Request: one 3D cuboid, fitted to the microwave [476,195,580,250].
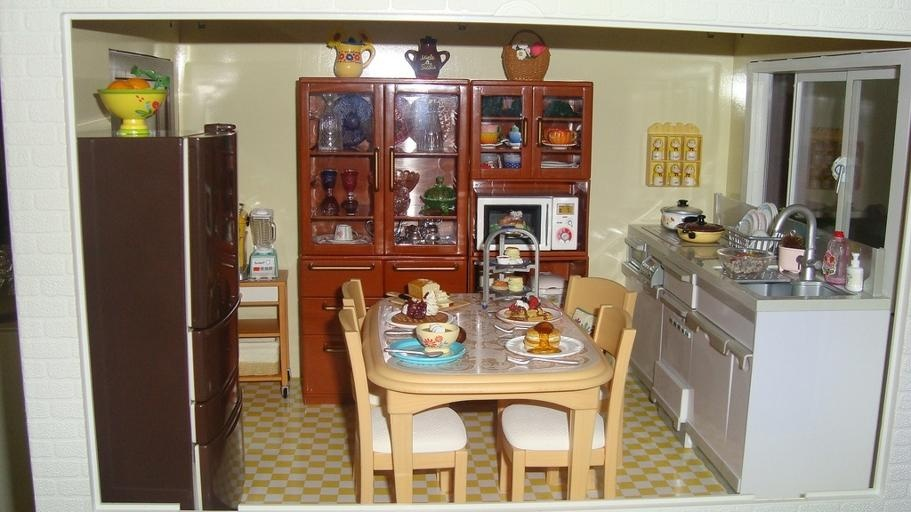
[{"bbox_3d":[0.812,-0.260,5.910,1.068,0.497,0.608,2,0,41],"label":"microwave"}]

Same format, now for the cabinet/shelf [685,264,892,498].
[{"bbox_3d":[2.310,0.926,5.255,1.148,1.391,1.539,1,5,-12],"label":"cabinet/shelf"}]

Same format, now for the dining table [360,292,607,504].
[{"bbox_3d":[0.199,1.109,4.441,1.363,0.742,1.643,-3,20,-5],"label":"dining table"}]

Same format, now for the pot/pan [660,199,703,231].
[{"bbox_3d":[2.069,-0.389,5.958,0.359,0.250,0.364,9,15,44],"label":"pot/pan"}]

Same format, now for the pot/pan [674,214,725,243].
[{"bbox_3d":[2.118,-0.226,5.629,0.317,0.168,0.331,-1,14,2],"label":"pot/pan"}]

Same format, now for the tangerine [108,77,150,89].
[{"bbox_3d":[-2.078,-1.095,4.130,0.230,0.090,0.192,-6,11,-24],"label":"tangerine"}]

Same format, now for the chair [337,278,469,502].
[{"bbox_3d":[-0.346,0.940,4.382,0.968,1.510,0.888,-4,39,-4],"label":"chair"}]

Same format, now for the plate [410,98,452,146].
[{"bbox_3d":[-0.287,-1.183,5.795,0.365,0.496,0.340,-15,25,-35],"label":"plate"}]

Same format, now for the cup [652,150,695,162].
[{"bbox_3d":[2.100,-0.974,6.249,0.477,0.109,0.064,-3,12,-10],"label":"cup"}]

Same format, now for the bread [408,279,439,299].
[{"bbox_3d":[-0.238,0.237,4.941,0.183,0.098,0.181,-6,12,-30],"label":"bread"}]

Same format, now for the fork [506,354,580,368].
[{"bbox_3d":[0.551,0.660,4.090,0.387,0.038,0.044,3,14,5],"label":"fork"}]

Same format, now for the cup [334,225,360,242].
[{"bbox_3d":[-0.969,-0.200,5.735,0.221,0.155,0.124,-1,8,-16],"label":"cup"}]

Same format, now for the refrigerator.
[{"bbox_3d":[-1.875,0.492,4.107,0.935,2.465,0.406,-7,13,-23],"label":"refrigerator"}]

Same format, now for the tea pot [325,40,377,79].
[{"bbox_3d":[-0.907,-1.722,5.688,0.375,0.340,0.321,-4,11,-12],"label":"tea pot"}]

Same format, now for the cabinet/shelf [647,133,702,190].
[{"bbox_3d":[2.089,-0.939,6.248,0.623,0.483,0.144,0,5,-5],"label":"cabinet/shelf"}]

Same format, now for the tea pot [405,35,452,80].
[{"bbox_3d":[-0.269,-1.753,5.755,0.430,0.350,0.235,-2,22,-13],"label":"tea pot"}]

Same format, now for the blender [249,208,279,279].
[{"bbox_3d":[-1.764,-0.118,5.874,0.270,0.608,0.383,-6,12,-18],"label":"blender"}]
